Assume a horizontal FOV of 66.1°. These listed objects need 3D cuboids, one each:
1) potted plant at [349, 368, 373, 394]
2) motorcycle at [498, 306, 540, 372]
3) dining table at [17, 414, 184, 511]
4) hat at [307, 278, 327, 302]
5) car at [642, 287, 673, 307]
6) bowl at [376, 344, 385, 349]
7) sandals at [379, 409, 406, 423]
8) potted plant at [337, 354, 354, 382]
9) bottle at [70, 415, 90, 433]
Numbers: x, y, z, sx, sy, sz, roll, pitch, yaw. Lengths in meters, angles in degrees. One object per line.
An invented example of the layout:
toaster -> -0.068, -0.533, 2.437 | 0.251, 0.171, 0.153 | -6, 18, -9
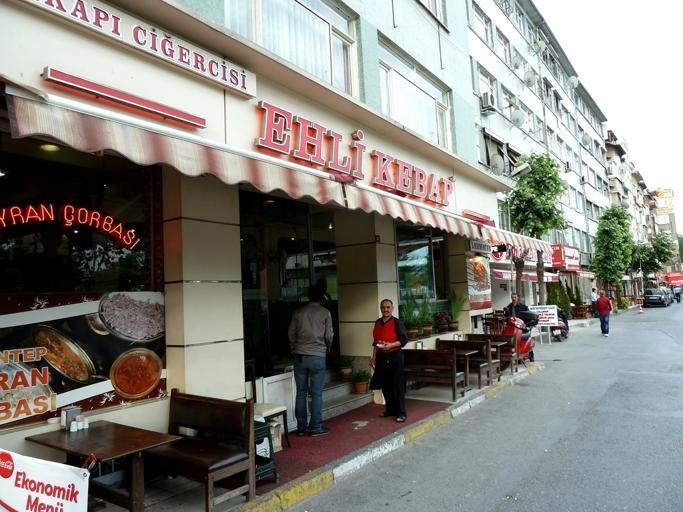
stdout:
potted plant -> 0.447, 2.592, 10.771 | 0.374, 0.430, 0.403 | 2, -19, -5
motorcycle -> 4.713, 2.222, 14.258 | 1.065, 1.360, 1.901 | 2, 2, 34
dining table -> -2.697, 2.470, 5.992 | 1.554, 0.924, 0.865 | -8, -6, 32
hat -> -0.392, 0.601, 9.140 | 0.297, 0.463, 0.429 | 3, -12, 0
car -> 27.858, 3.711, 45.970 | 1.792, 1.058, 1.625 | -2, -6, -27
bowl -> 0.726, 1.613, 9.386 | 0.042, 0.095, 0.166 | 0, -7, -38
sandals -> 0.917, 2.878, 9.316 | 0.150, 0.214, 0.499 | 3, -16, -33
potted plant -> 0.106, 2.386, 11.103 | 0.331, 0.461, 0.548 | -4, -5, 0
bottle -> -3.177, 2.047, 6.327 | 0.054, 0.134, 0.153 | -3, -5, 38
